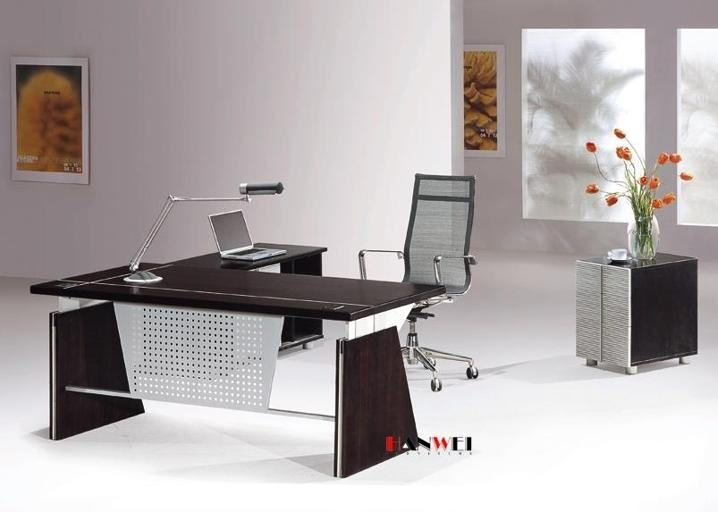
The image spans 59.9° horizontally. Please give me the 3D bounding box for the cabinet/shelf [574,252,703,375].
[{"bbox_3d":[2.067,0.411,4.840,1.024,0.933,0.699,-3,5,-39],"label":"cabinet/shelf"}]

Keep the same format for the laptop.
[{"bbox_3d":[-0.894,-0.144,5.005,0.469,0.352,0.511,2,7,22],"label":"laptop"}]

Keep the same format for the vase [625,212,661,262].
[{"bbox_3d":[2.280,-0.143,4.909,0.309,0.424,0.314,-1,0,-9],"label":"vase"}]

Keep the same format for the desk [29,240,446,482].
[{"bbox_3d":[-0.807,0.500,3.553,1.448,0.697,1.554,3,5,24],"label":"desk"}]

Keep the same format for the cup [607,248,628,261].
[{"bbox_3d":[1.961,-0.013,4.793,0.162,0.101,0.110,1,5,44],"label":"cup"}]
